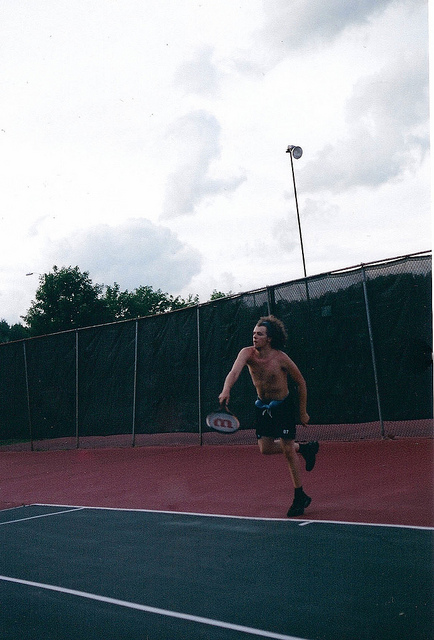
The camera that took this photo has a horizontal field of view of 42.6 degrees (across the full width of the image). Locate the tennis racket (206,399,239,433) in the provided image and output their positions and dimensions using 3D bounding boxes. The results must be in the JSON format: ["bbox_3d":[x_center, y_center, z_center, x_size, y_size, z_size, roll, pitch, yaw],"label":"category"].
[{"bbox_3d":[0.037,0.737,4.136,0.159,0.200,0.250,-1,-8,-23],"label":"tennis racket"}]

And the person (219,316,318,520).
[{"bbox_3d":[0.546,0.789,5.129,0.652,1.413,3.018,-5,-8,8],"label":"person"}]

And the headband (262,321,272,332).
[{"bbox_3d":[0.388,0.045,4.224,0.047,0.094,0.090,-3,-8,-5],"label":"headband"}]
